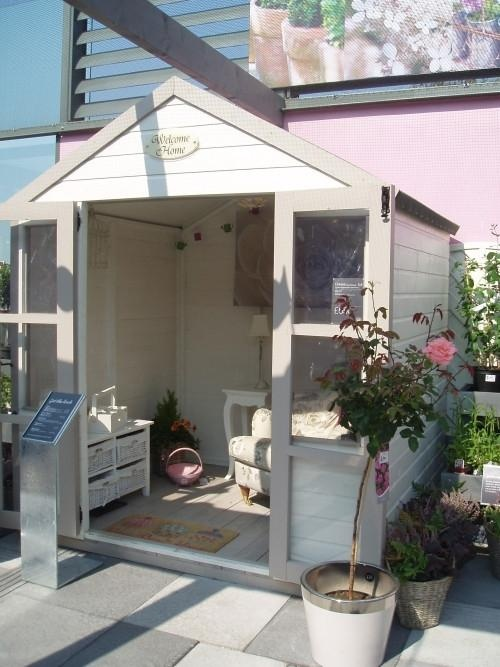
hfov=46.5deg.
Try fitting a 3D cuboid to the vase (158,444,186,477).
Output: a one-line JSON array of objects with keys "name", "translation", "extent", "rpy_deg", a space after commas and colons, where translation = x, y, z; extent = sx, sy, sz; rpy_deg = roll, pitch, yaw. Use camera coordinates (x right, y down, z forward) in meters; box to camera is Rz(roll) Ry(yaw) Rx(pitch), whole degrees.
[{"name": "vase", "translation": [-0.722, 1.155, 5.279], "extent": [0.242, 0.296, 0.104], "rpy_deg": [0, 1, 3]}]

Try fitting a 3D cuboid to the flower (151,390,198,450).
[{"name": "flower", "translation": [-0.708, 0.833, 5.441], "extent": [0.331, 0.557, 0.438], "rpy_deg": [0, 1, 8]}]

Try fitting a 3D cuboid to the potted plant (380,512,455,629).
[{"name": "potted plant", "translation": [0.770, 1.145, 2.765], "extent": [0.351, 0.452, 0.283], "rpy_deg": [-5, -4, -2]}]

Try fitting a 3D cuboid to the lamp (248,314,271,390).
[{"name": "lamp", "translation": [0.095, 0.161, 5.301], "extent": [0.218, 0.675, 0.225], "rpy_deg": [-10, -14, 40]}]
